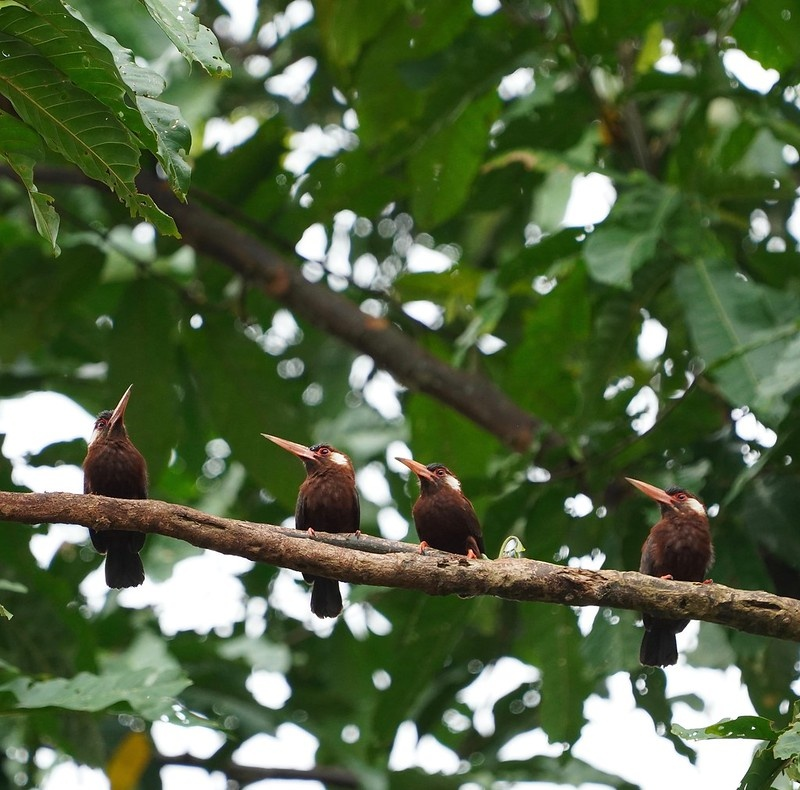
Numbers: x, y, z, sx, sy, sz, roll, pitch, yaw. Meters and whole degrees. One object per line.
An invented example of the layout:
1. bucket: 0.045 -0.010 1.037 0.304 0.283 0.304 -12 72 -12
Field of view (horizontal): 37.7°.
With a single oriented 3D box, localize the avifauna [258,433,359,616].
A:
1. avifauna: -0.403 0.705 5.687 0.440 0.478 0.941 -5 -73 -4
